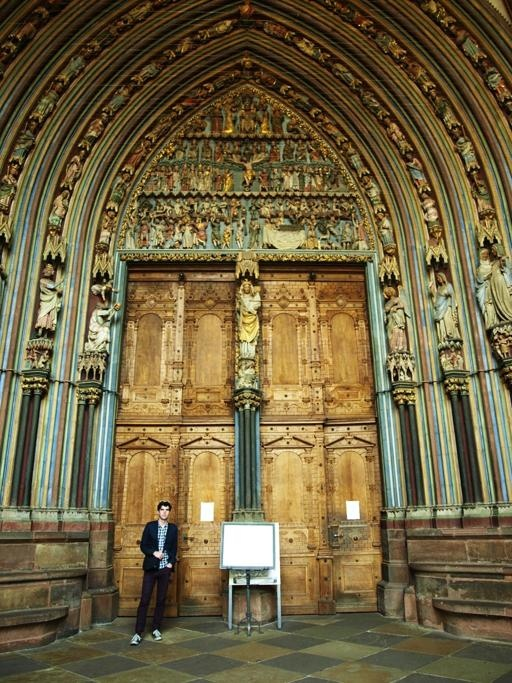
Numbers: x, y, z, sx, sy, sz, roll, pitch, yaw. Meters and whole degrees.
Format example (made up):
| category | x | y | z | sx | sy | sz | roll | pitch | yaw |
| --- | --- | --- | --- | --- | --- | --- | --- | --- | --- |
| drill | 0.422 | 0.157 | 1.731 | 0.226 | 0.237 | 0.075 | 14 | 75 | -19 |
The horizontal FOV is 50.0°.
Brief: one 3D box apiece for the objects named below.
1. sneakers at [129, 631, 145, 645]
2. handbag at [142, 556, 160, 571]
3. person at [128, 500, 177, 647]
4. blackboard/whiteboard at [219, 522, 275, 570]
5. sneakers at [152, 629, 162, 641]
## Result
| category | x | y | z | sx | sy | sz | roll | pitch | yaw |
| --- | --- | --- | --- | --- | --- | --- | --- | --- | --- |
| sneakers | -1.337 | 3.305 | 6.102 | 0.096 | 0.095 | 0.232 | 7 | -24 | -5 |
| handbag | -1.261 | 2.627 | 6.514 | 0.201 | 0.216 | 0.158 | -1 | -17 | 1 |
| person | -1.222 | 2.710 | 6.549 | 0.444 | 1.538 | 0.715 | -2 | -18 | 3 |
| blackboard/whiteboard | -0.110 | 2.627 | 7.028 | 0.829 | 0.661 | 0.152 | -1 | -52 | 2 |
| sneakers | -1.150 | 3.387 | 6.337 | 0.059 | 0.069 | 0.168 | 17 | -29 | -27 |
